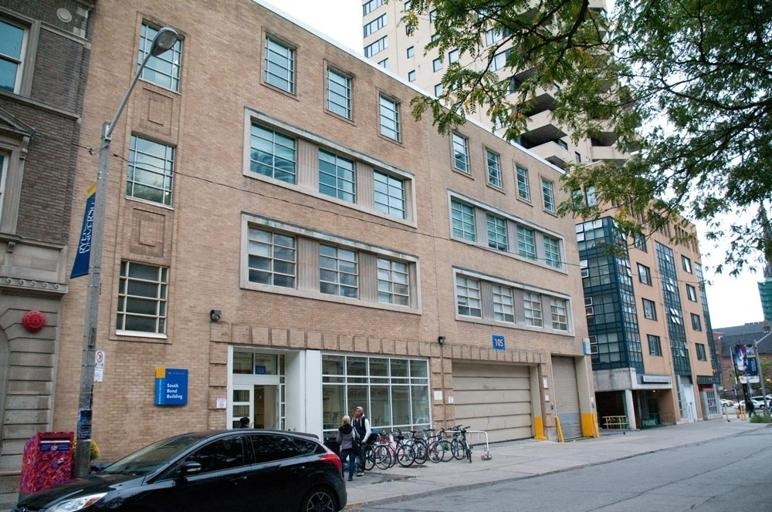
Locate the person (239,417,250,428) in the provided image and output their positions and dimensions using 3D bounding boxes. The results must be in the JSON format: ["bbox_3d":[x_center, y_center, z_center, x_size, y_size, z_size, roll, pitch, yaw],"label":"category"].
[{"bbox_3d":[-4.228,4.963,16.108,0.220,0.329,1.057,3,-21,-18],"label":"person"}]
